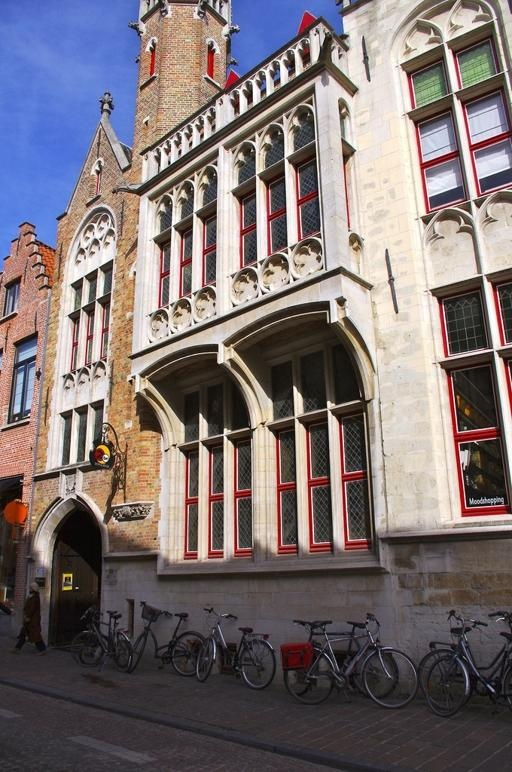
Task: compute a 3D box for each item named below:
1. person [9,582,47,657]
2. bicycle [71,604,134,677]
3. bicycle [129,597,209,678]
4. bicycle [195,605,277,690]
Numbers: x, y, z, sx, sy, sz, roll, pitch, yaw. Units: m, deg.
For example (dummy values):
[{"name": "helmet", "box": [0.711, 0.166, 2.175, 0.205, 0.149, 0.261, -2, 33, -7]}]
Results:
[{"name": "person", "box": [-4.341, 4.478, 11.559, 0.533, 1.268, 0.444, -5, -11, 27]}, {"name": "bicycle", "box": [-2.512, 4.427, 10.478, 0.723, 0.986, 1.685, 9, -14, -40]}, {"name": "bicycle", "box": [-1.501, 4.161, 9.822, 1.744, 1.049, 0.866, -16, -42, 42]}, {"name": "bicycle", "box": [-0.067, 3.746, 8.432, 0.738, 1.067, 1.635, 19, -26, -32]}]
